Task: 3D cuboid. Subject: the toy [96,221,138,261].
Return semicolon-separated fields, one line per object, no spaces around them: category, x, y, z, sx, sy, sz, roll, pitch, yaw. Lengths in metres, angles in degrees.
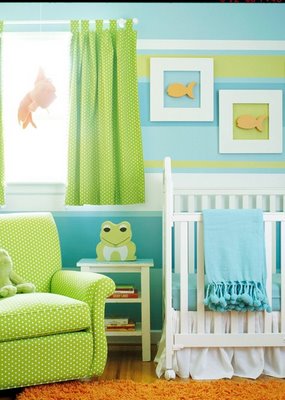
toy;-0.147;0.236;2.496;0.205;0.211;0.076;0;-10;-4

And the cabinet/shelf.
cabinet/shelf;-0.084;0.581;2.473;0.473;0.619;0.421;-1;-2;0
